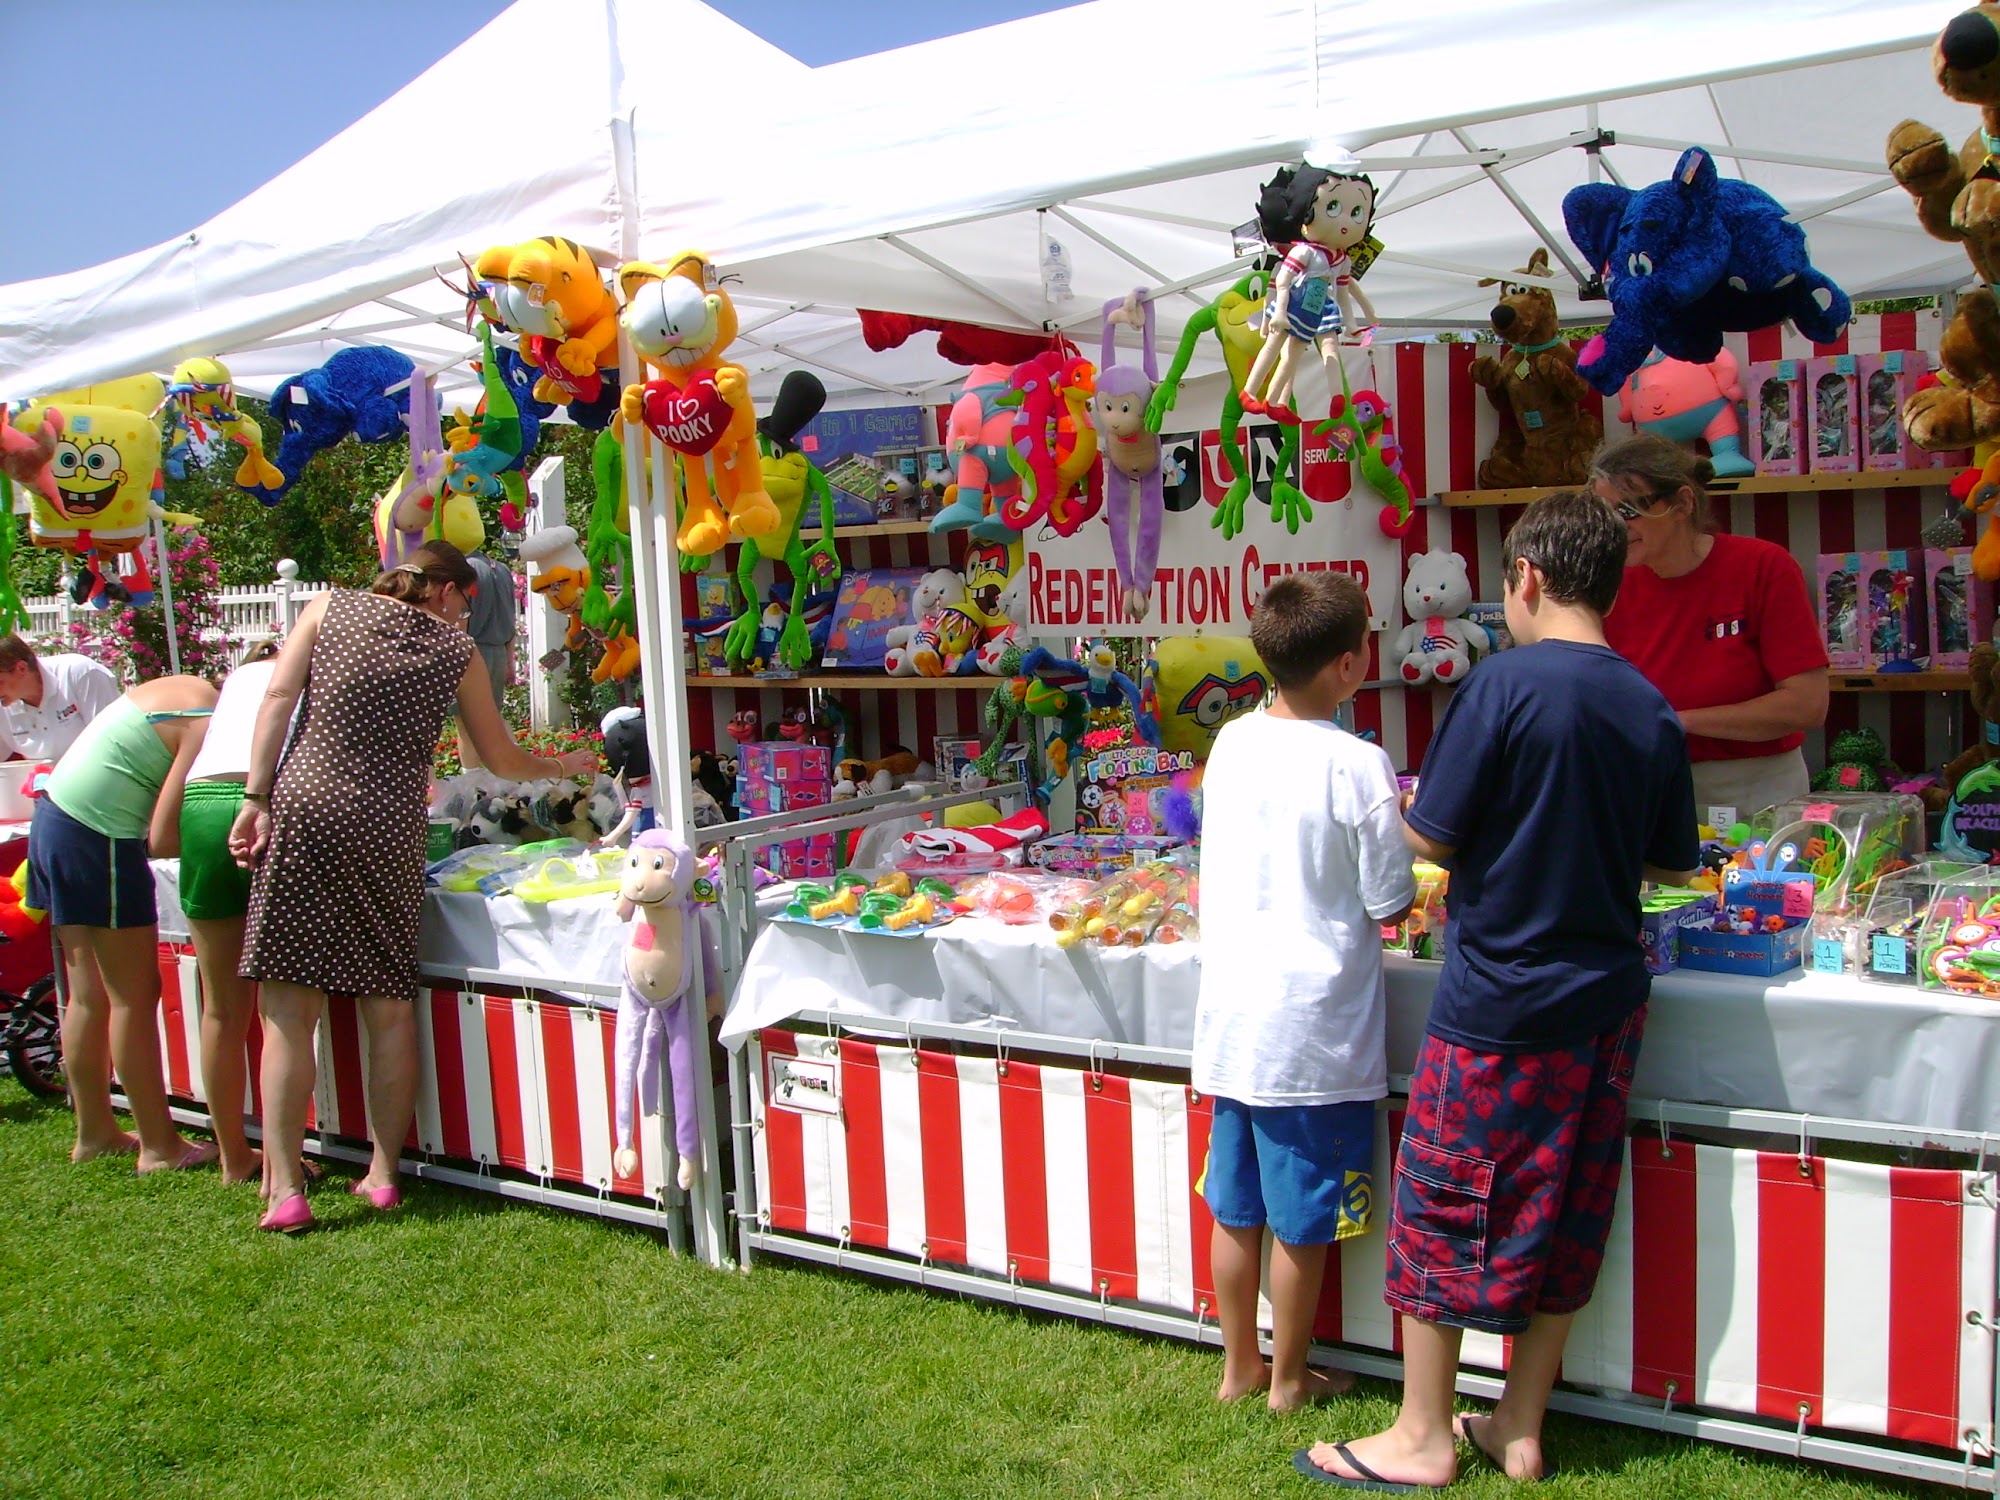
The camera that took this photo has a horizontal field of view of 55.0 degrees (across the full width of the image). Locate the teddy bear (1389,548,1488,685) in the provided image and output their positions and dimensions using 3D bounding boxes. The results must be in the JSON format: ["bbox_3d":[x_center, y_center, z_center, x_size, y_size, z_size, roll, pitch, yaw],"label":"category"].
[{"bbox_3d":[1.454,-0.451,6.408,0.266,0.469,0.235,0,5,27],"label":"teddy bear"}]

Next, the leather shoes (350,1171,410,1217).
[{"bbox_3d":[-1.812,1.294,5.599,0.069,0.076,0.160,1,5,-33],"label":"leather shoes"}]

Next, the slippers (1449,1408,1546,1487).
[{"bbox_3d":[1.043,1.493,4.121,0.076,0.059,0.203,-4,10,-3],"label":"slippers"}]

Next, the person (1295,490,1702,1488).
[{"bbox_3d":[1.049,0.507,4.001,0.781,2.026,0.352,-8,12,-26],"label":"person"}]

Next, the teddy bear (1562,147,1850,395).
[{"bbox_3d":[1.779,-1.210,5.016,0.589,0.556,0.544,-3,-4,-4],"label":"teddy bear"}]

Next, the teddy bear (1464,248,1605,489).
[{"bbox_3d":[1.791,-1.260,6.532,0.378,0.808,0.457,-1,4,37],"label":"teddy bear"}]

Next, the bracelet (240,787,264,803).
[{"bbox_3d":[-2.108,0.130,5.406,0.042,0.033,0.042,2,1,-37],"label":"bracelet"}]

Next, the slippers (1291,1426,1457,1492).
[{"bbox_3d":[0.758,1.476,4.078,0.235,0.060,0.114,4,3,28],"label":"slippers"}]
